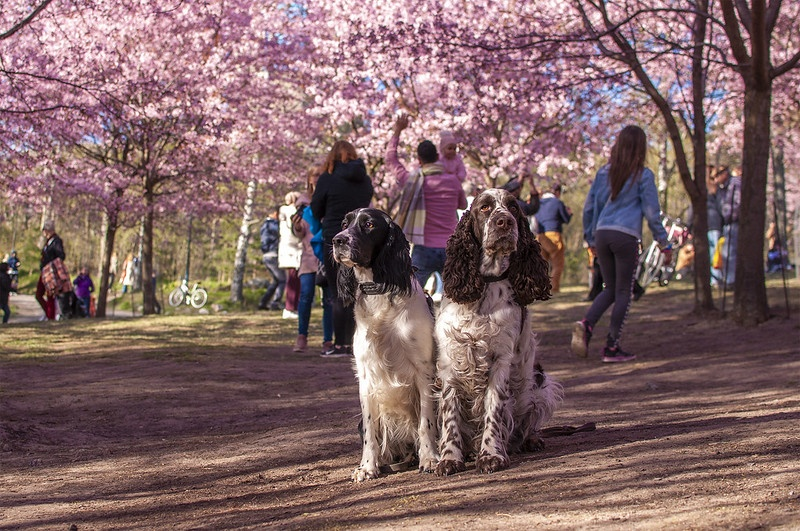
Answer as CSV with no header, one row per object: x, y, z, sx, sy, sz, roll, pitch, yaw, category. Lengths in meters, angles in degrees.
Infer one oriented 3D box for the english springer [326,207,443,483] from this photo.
-0.149,1.144,14.317,1.329,3.949,0.477,-1,-5,1,english springer

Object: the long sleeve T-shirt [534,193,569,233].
4.157,-1.292,26.556,0.938,1.228,0.792,-12,-22,32,long sleeve T-shirt

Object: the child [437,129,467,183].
0.919,-2.007,18.490,0.620,1.168,0.623,2,2,-10,child

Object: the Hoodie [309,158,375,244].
-1.302,-1.275,18.570,1.411,2.057,1.356,2,8,-11,Hoodie

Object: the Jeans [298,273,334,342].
-1.726,0.781,19.313,0.636,1.454,0.755,1,-1,-11,Jeans

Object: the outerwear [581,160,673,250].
4.103,-1.107,17.791,1.531,1.691,0.790,-4,-5,26,outerwear
